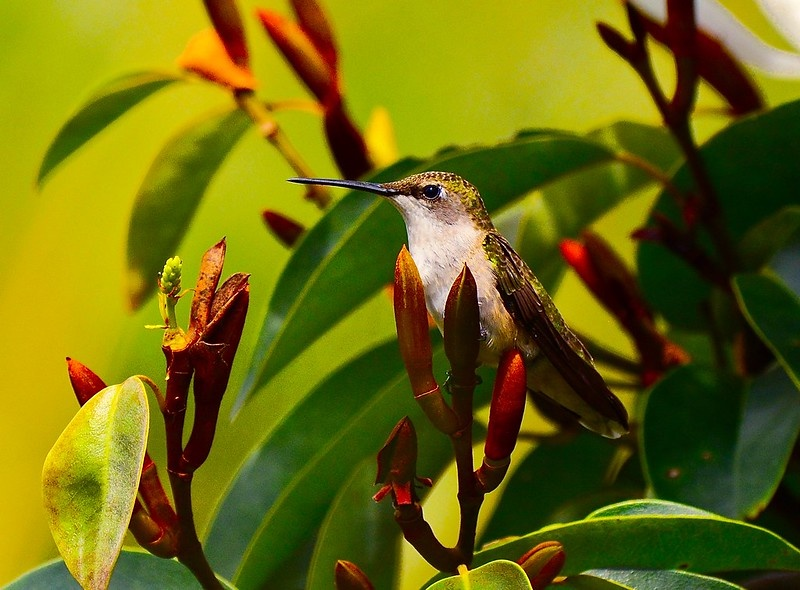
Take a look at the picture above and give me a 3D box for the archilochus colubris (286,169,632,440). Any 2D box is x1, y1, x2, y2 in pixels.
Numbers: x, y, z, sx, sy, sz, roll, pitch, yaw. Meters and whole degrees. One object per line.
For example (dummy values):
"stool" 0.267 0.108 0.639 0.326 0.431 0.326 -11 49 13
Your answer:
"archilochus colubris" 0.151 0.003 1.905 0.612 0.474 0.222 7 -18 -17
